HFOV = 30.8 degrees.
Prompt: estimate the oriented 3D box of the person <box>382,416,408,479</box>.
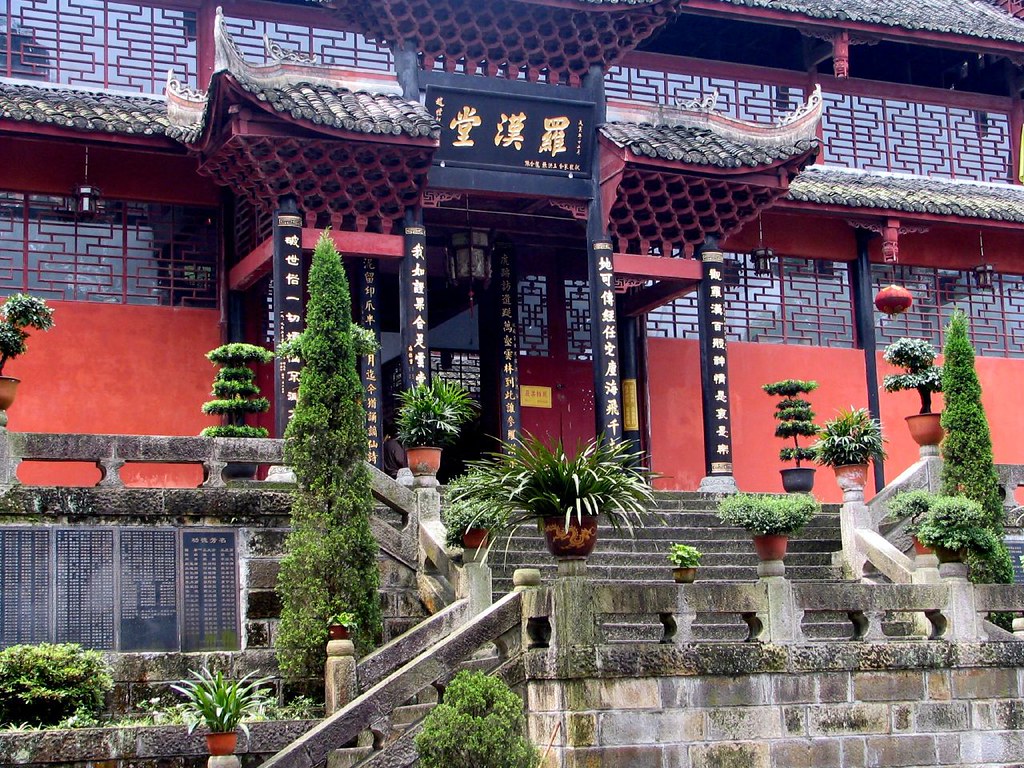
[{"bbox_3d":[-1.576,0.774,23.948,0.298,0.718,0.265,1,31,5],"label":"person"}]
